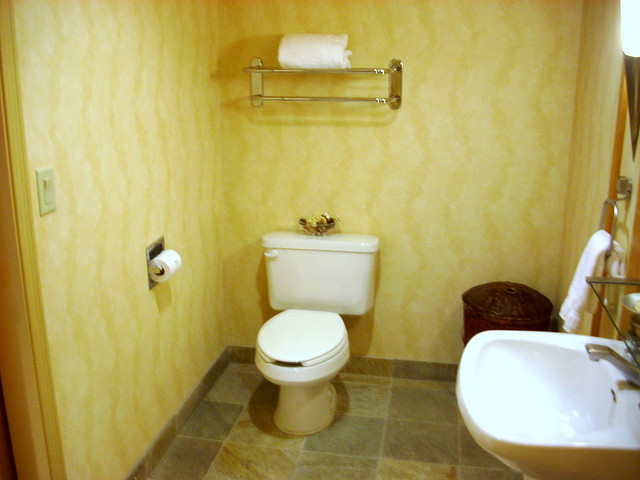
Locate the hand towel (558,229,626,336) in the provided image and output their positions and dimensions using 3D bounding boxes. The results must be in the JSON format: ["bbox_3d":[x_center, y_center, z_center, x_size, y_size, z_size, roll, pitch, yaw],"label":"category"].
[{"bbox_3d":[0.949,0.135,1.836,0.132,0.410,0.331,14,11,5],"label":"hand towel"}]

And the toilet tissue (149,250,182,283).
[{"bbox_3d":[-0.742,0.131,2.316,0.114,0.111,0.138,0,7,-10],"label":"toilet tissue"}]

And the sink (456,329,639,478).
[{"bbox_3d":[0.647,0.464,1.463,0.450,0.205,0.579,-4,12,16],"label":"sink"}]

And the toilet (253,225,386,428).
[{"bbox_3d":[0.020,0.473,2.717,0.670,0.981,0.742,-1,15,7],"label":"toilet"}]
